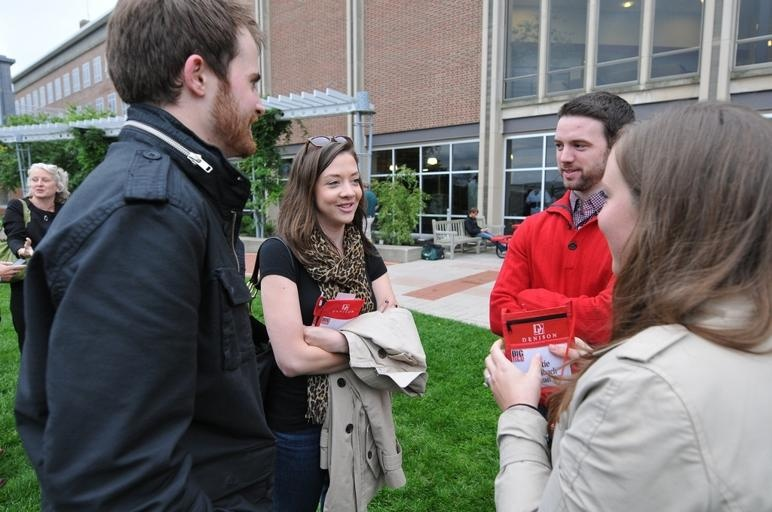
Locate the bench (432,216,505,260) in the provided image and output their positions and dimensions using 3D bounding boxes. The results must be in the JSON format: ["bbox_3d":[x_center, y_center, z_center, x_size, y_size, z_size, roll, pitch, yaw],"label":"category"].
[{"bbox_3d":[1.927,-0.364,14.159,0.621,0.853,2.189,15,14,30],"label":"bench"}]

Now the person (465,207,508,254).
[{"bbox_3d":[2.470,-0.486,13.558,0.770,0.921,1.319,-14,22,-40],"label":"person"}]

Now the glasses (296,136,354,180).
[{"bbox_3d":[-0.315,-0.505,2.838,0.226,0.066,0.232,-8,-27,-29],"label":"glasses"}]
